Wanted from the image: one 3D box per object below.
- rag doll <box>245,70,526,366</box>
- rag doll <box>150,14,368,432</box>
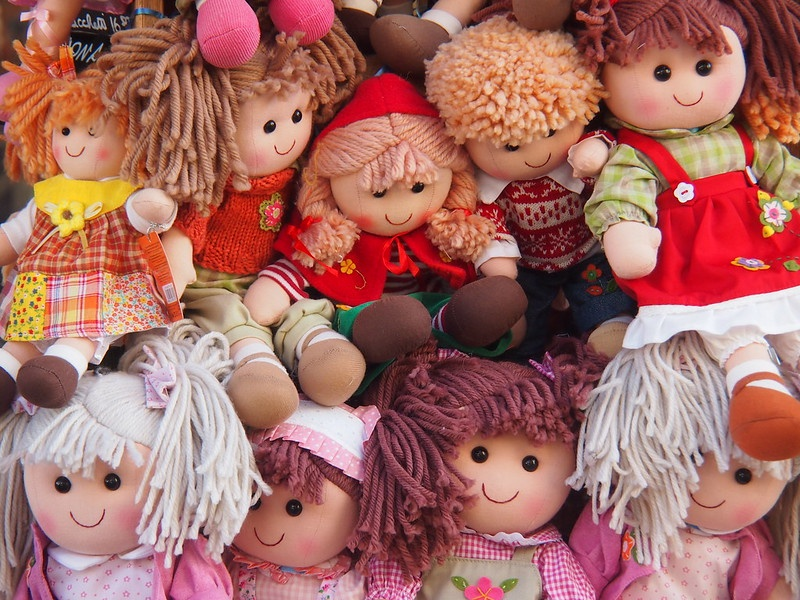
[{"bbox_3d":[-0.008,-0.142,1.491,0.476,0.573,0.403,9,26,19],"label":"rag doll"},{"bbox_3d":[-0.245,-0.203,1.448,0.368,0.680,0.571,-7,34,-40],"label":"rag doll"}]
